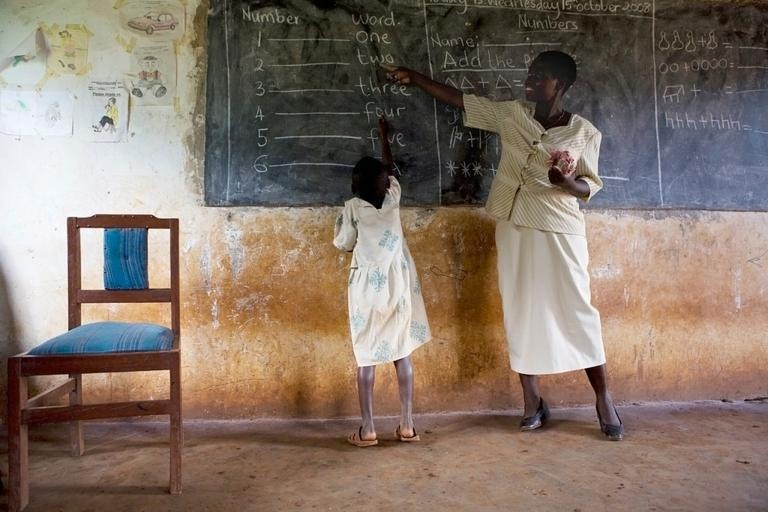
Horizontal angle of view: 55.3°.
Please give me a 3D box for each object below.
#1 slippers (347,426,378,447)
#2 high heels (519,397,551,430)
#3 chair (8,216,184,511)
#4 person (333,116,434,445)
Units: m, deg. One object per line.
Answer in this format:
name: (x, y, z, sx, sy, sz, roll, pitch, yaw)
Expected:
slippers: (-0.154, 1.239, 5.048, 0.219, 0.101, 0.102, 1, -2, 29)
high heels: (1.078, 1.134, 5.249, 0.115, 0.152, 0.319, -4, 4, 35)
chair: (-1.836, 0.625, 4.675, 1.096, 1.778, 0.612, -3, 3, -15)
person: (-0.006, 0.310, 5.025, 0.630, 1.952, 0.179, -2, 3, -4)
